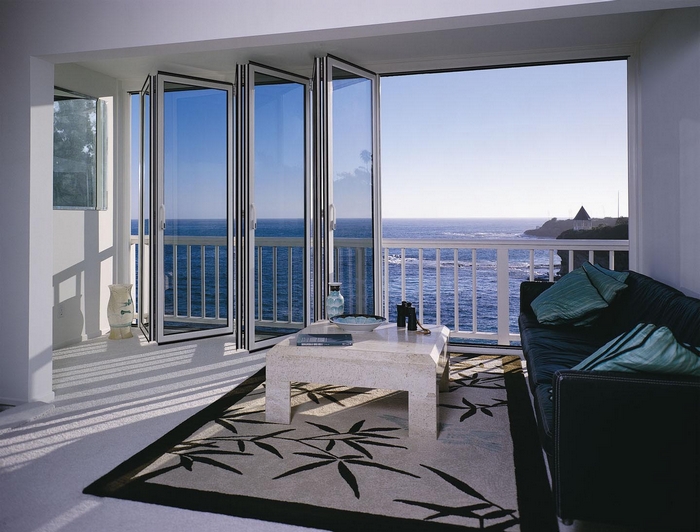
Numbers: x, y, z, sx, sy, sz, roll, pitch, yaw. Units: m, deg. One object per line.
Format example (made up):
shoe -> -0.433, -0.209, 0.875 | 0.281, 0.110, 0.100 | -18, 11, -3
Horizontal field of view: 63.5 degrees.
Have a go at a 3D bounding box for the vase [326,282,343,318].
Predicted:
vase -> -0.098, 0.235, 3.942 | 0.145, 0.236, 0.138 | -4, 6, -13

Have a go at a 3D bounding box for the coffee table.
coffee table -> 0.049, 0.646, 3.433 | 0.761, 0.316, 0.716 | 0, 3, 15

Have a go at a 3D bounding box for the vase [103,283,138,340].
vase -> -2.194, 0.419, 5.359 | 0.248, 0.520, 0.243 | -6, 14, -22
